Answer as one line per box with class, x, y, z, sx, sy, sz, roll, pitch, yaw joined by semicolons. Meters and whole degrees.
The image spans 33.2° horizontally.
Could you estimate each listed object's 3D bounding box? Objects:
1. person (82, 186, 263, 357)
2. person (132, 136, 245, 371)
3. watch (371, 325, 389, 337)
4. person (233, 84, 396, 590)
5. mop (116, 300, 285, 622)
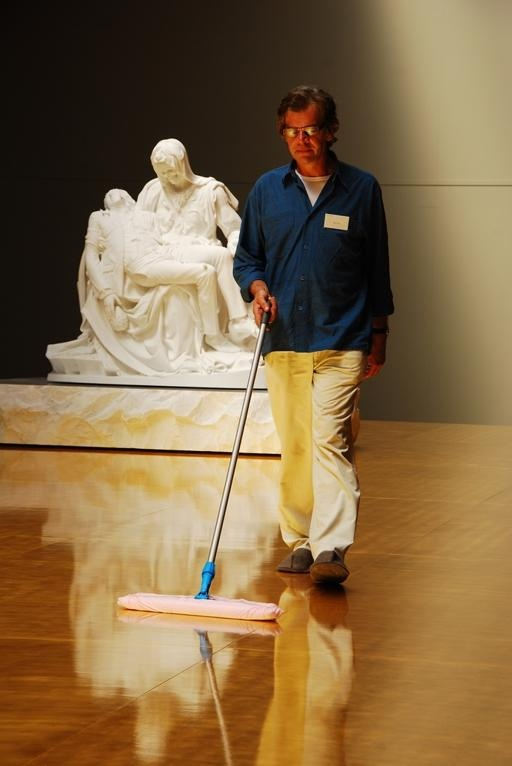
person;-0.584;-0.694;5.776;1.432;1.607;0.909;0;-1;16
person;-0.493;-0.923;6.250;0.965;1.750;1.068;-11;10;-20
watch;0.378;-0.161;2.607;0.044;0.023;0.039;5;13;14
person;0.181;-0.134;2.474;0.508;1.410;0.553;0;2;-23
mop;-0.066;0.204;2.312;0.470;0.894;0.098;0;-28;26
